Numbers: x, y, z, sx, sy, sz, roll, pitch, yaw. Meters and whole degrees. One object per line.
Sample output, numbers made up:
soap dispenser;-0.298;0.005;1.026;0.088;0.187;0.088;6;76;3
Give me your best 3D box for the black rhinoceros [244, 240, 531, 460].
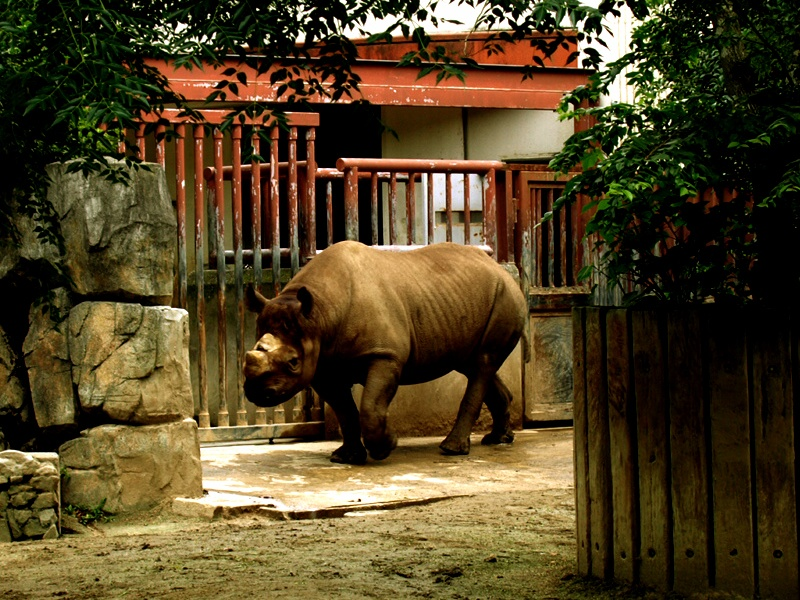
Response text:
black rhinoceros;-0.027;0.429;11.693;2.783;1.822;0.930;-3;0;-36
